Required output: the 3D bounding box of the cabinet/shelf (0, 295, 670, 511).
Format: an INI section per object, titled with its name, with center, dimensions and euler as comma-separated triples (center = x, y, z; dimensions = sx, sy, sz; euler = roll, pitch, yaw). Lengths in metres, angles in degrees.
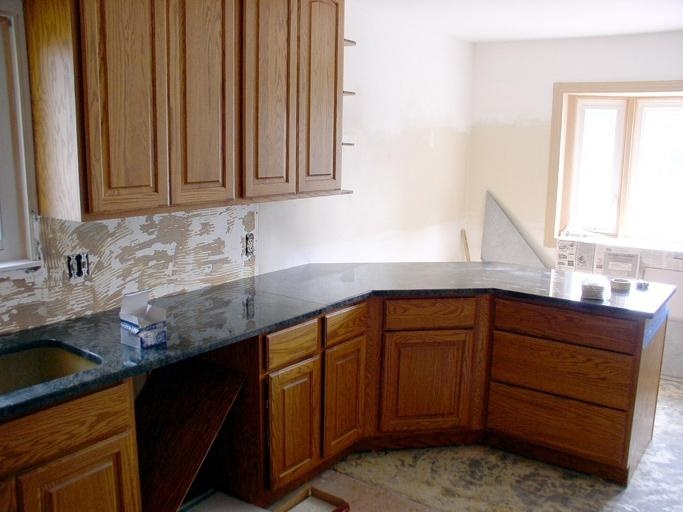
[cabinet/shelf]
center = 0.300, 0.803, 2.879
dimensions = 3.112, 1.043, 0.861
euler = -4, 15, -19
